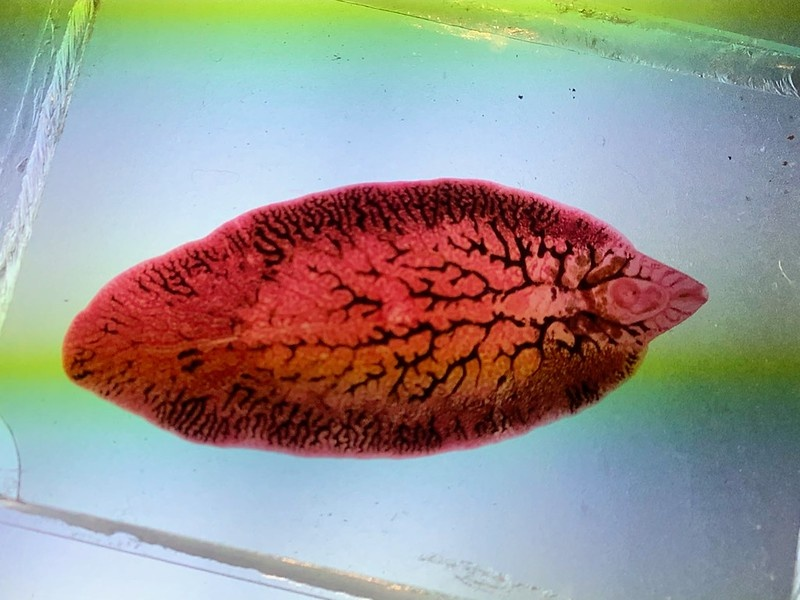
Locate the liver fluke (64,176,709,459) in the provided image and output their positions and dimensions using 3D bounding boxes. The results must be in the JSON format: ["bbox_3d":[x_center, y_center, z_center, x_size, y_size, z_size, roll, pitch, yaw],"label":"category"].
[{"bbox_3d":[0.010,0.064,3.208,2.323,0.237,1.018,-3,71,-9],"label":"liver fluke"}]
